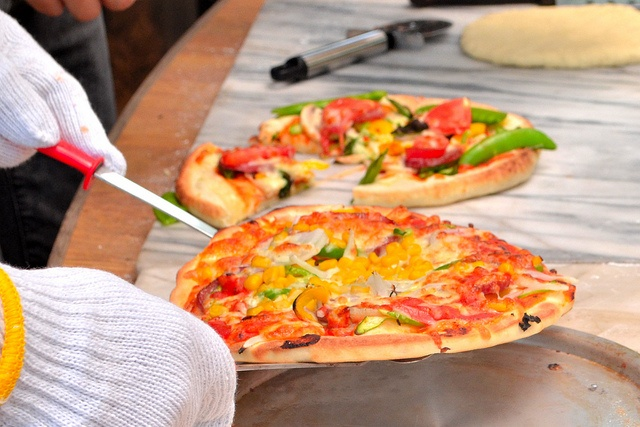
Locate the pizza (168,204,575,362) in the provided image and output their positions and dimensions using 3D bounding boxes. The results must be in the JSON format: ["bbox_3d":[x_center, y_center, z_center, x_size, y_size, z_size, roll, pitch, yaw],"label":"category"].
[{"bbox_3d":[0.128,0.160,1.451,0.630,0.074,0.395,2,26,8],"label":"pizza"}]

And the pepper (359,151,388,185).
[{"bbox_3d":[0.154,-0.124,1.793,0.034,0.012,0.166,36,41,7],"label":"pepper"}]

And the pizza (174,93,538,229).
[{"bbox_3d":[0.097,-0.161,1.813,0.808,0.107,0.426,-9,34,-4],"label":"pizza"}]

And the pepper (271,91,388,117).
[{"bbox_3d":[0.036,-0.327,1.963,0.292,0.052,0.042,-11,67,-8],"label":"pepper"}]

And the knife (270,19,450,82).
[{"bbox_3d":[0.201,-0.576,2.279,0.778,0.108,0.215,-18,39,-30],"label":"knife"}]
